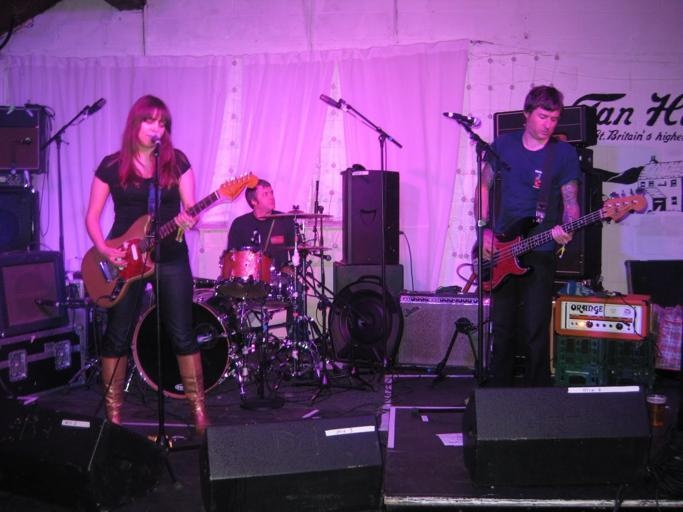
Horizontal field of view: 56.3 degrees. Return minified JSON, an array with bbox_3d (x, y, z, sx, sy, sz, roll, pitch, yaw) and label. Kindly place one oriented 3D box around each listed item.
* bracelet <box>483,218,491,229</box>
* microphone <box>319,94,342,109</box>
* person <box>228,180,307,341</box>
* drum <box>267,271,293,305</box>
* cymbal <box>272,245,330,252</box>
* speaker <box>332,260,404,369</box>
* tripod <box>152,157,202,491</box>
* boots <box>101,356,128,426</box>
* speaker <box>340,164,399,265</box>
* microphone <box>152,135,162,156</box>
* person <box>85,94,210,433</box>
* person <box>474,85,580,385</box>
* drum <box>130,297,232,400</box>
[{"bbox_3d":[1.021,-0.232,4.450,0.046,0.071,0.151,0,-10,7],"label":"bracelet"},{"bbox_3d":[-0.105,-1.340,5.414,0.131,0.140,0.475,3,12,-11],"label":"microphone"},{"bbox_3d":[-0.707,0.097,6.113,0.728,1.679,0.923,-5,7,-24],"label":"person"},{"bbox_3d":[-0.497,0.262,5.324,0.217,0.358,0.235,0,-6,0],"label":"drum"},{"bbox_3d":[-0.300,-0.084,5.603,0.306,0.052,0.186,-5,-5,41],"label":"cymbal"},{"bbox_3d":[0.287,0.517,6.246,0.618,1.039,0.551,4,2,13],"label":"speaker"},{"bbox_3d":[-1.063,0.322,4.182,0.334,2.024,0.861,0,5,-13],"label":"tripod"},{"bbox_3d":[-1.527,0.897,4.286,0.165,0.527,0.163,5,11,2],"label":"boots"},{"bbox_3d":[0.256,-0.404,6.285,0.476,0.949,0.479,-3,9,-15],"label":"speaker"},{"bbox_3d":[-1.148,-0.703,3.958,0.047,0.054,0.179,0,43,-21],"label":"microphone"},{"bbox_3d":[-1.309,0.123,4.254,0.678,2.311,0.754,5,19,0],"label":"person"},{"bbox_3d":[1.317,-0.126,4.508,0.676,2.100,0.642,3,5,20],"label":"person"},{"bbox_3d":[-1.233,0.645,5.262,0.685,0.831,0.755,-11,0,19],"label":"drum"}]
